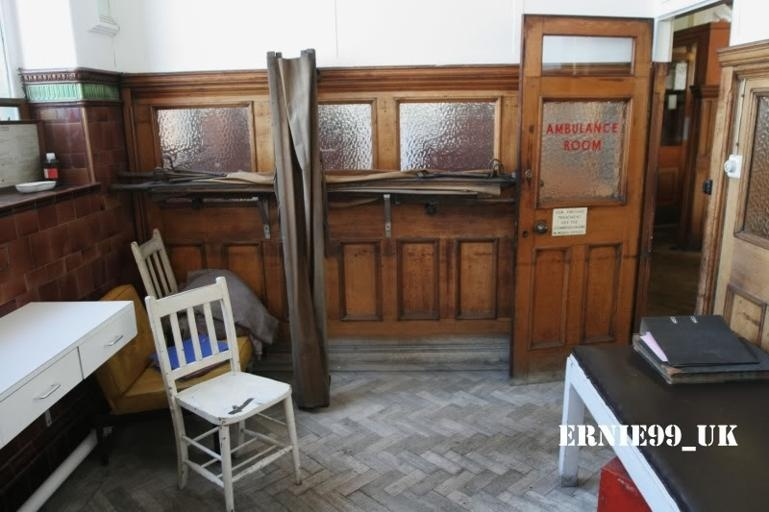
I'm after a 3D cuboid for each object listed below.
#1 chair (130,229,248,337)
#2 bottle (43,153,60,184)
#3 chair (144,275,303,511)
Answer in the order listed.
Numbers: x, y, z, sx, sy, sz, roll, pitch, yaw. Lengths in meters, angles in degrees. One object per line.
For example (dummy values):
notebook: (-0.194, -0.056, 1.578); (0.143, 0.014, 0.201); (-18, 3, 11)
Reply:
chair: (-1.459, 0.198, 3.970); (0.535, 0.815, 0.486); (-19, 16, 18)
bottle: (-2.411, -0.636, 3.851); (0.099, 0.201, 0.160); (-9, 19, -22)
chair: (-1.035, 0.778, 3.402); (0.723, 1.276, 1.088); (-11, 20, -26)
